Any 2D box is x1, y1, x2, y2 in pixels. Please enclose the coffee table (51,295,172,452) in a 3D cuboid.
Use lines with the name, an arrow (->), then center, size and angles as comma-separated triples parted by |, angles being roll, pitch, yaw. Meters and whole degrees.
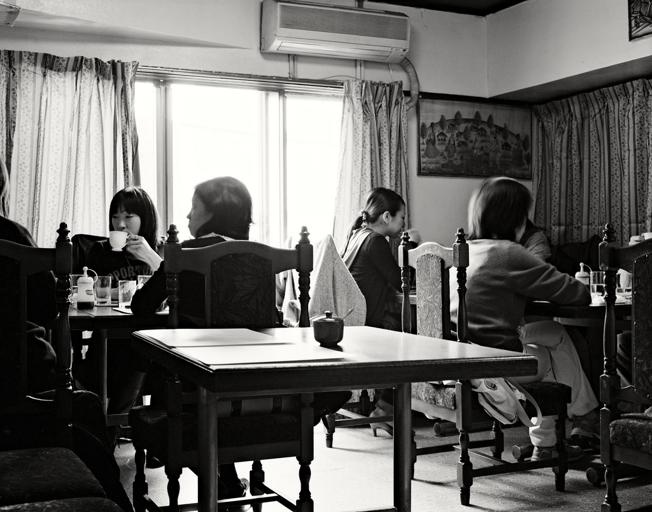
coffee table -> -0.919, 0.440, 2.735 | 0.496, 0.506, 0.534 | 3, -15, -29

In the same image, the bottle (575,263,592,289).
bottle -> 1.547, 0.115, 3.903 | 0.127, 0.210, 0.126 | 0, 0, 0

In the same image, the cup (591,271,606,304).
cup -> 1.503, 0.175, 3.643 | 0.084, 0.163, 0.092 | -1, -3, 0

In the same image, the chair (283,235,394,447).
chair -> 0.182, 0.540, 4.002 | 0.624, 1.226, 0.766 | -6, -31, 16

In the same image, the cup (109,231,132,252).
cup -> -1.012, -0.073, 3.232 | 0.090, 0.087, 0.080 | 6, -6, -6

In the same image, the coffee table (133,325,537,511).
coffee table -> -0.051, 0.527, 2.020 | 1.045, 0.642, 0.778 | 1, 8, -19

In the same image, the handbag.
handbag -> 0.806, 0.675, 2.948 | 0.300, 0.117, 0.224 | 14, 10, 23
